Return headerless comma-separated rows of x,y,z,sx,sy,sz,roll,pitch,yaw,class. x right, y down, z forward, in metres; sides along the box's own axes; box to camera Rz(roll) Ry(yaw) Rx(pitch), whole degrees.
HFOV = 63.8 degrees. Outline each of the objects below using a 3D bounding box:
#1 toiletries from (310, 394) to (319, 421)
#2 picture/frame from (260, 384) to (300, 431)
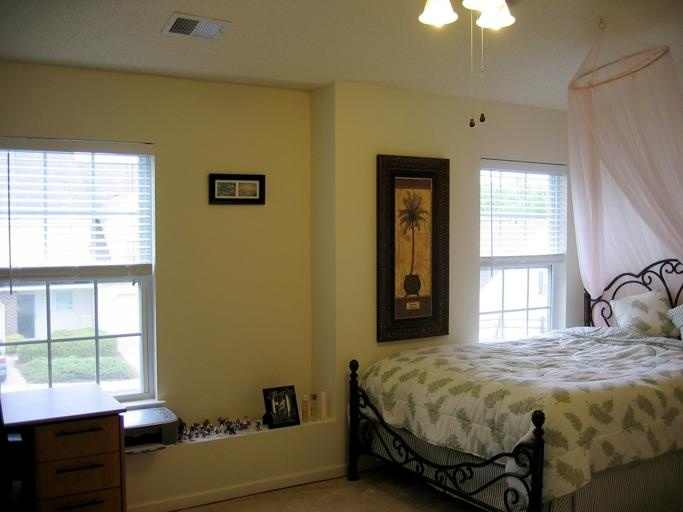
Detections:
-0.199,1.143,4.106,0.060,0.180,0.177,0,1,-10,toiletries
-0.457,1.126,4.027,0.271,0.328,0.031,0,-19,-30,picture/frame
